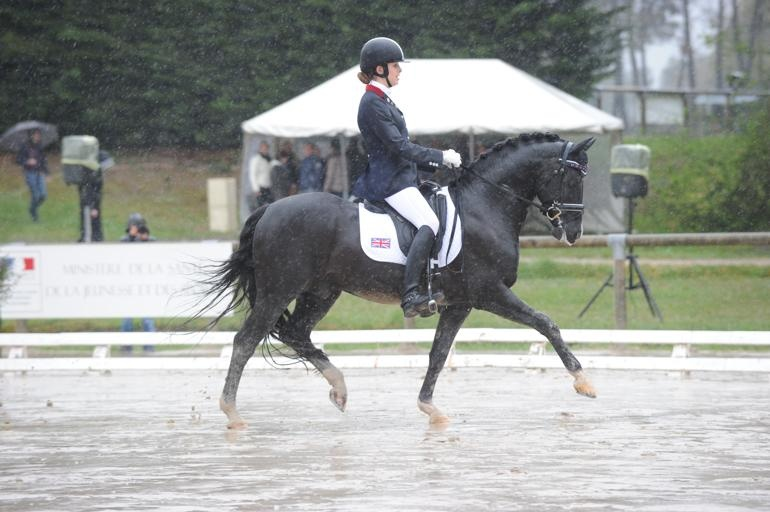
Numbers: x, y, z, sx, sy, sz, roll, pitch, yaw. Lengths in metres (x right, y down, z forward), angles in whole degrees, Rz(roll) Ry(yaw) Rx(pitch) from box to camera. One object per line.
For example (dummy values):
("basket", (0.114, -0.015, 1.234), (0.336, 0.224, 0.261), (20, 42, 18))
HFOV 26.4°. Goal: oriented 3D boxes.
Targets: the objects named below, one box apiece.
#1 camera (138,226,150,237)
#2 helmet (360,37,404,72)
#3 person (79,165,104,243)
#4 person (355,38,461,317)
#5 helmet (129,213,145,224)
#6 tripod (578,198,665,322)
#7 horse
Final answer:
("camera", (-3.447, -0.376, 23.638), (0.093, 0.148, 0.157), (10, 27, 32))
("helmet", (-0.045, -2.497, 20.346), (0.527, 0.322, 0.363), (-9, 13, 2))
("person", (-4.405, -0.793, 24.753), (0.333, 1.000, 0.855), (-1, 9, -11))
("person", (0.189, -0.985, 20.119), (1.139, 3.290, 0.651), (3, 9, 17))
("helmet", (-3.569, -0.548, 23.628), (0.179, 0.160, 0.182), (-2, 1, -43))
("tripod", (3.566, -0.063, 24.642), (0.950, 2.017, 0.833), (-1, -5, -4))
("horse", (0.382, -0.028, 20.225), (5.174, 3.479, 1.510), (0, 4, -7))
